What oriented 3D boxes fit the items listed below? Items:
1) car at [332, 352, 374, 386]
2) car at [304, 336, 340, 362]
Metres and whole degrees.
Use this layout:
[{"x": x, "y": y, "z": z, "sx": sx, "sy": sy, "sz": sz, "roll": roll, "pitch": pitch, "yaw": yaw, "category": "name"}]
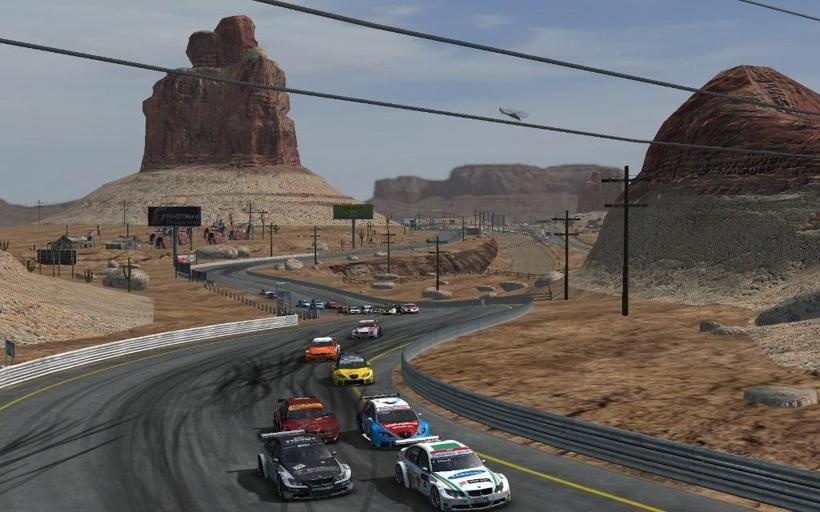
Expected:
[{"x": -4.094, "y": 8.190, "z": 51.425, "sx": 2.650, "sy": 1.714, "sz": 2.189, "roll": 0, "pitch": 6, "yaw": -3, "category": "car"}, {"x": -7.255, "y": 7.644, "z": 59.802, "sx": 2.526, "sy": 1.484, "sz": 3.510, "roll": -1, "pitch": 6, "yaw": -6, "category": "car"}]
